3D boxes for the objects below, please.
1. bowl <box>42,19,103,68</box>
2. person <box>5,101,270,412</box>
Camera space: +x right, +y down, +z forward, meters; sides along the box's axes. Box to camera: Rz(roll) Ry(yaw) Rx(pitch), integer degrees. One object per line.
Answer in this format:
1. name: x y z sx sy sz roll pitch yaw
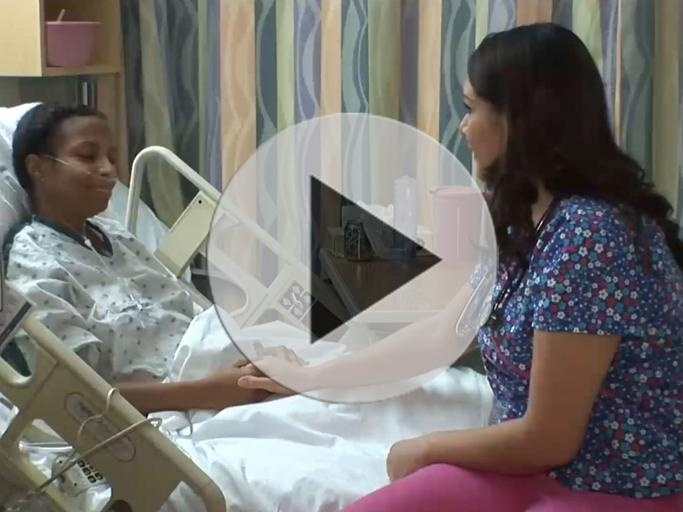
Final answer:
1. bowl: -0.710 -0.549 1.976 0.130 0.115 0.109 27 38 35
2. person: -0.383 0.040 1.853 0.534 0.783 0.644 -3 4 9
